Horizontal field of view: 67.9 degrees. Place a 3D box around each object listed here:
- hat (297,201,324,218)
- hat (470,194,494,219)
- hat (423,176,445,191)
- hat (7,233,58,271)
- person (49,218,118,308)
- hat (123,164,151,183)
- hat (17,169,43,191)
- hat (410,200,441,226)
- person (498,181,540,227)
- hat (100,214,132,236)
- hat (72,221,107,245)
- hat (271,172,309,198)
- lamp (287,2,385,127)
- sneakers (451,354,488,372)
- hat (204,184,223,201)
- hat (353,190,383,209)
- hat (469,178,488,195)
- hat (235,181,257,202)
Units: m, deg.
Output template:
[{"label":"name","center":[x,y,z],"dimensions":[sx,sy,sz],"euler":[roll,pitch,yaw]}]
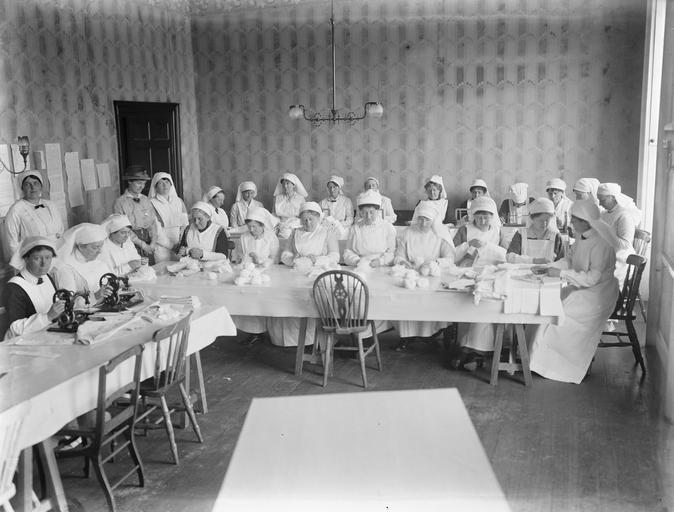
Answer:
[{"label":"hat","center":[-0.269,-0.534,5.562],"dimensions":[0.158,0.122,0.209],"euler":[4,17,8]},{"label":"hat","center":[1.557,-0.511,5.343],"dimensions":[0.201,0.246,0.291],"euler":[3,21,11]},{"label":"hat","center":[1.566,-1.162,7.867],"dimensions":[0.259,0.250,0.395],"euler":[2,6,11]},{"label":"hat","center":[-2.591,-0.041,4.233],"dimensions":[0.408,0.244,0.334],"euler":[-7,12,-20]},{"label":"person","center":[-2.120,0.082,4.213],"dimensions":[0.435,0.780,0.606],"euler":[3,12,11]},{"label":"hat","center":[-2.551,-1.051,6.371],"dimensions":[0.241,0.176,0.286],"euler":[-8,14,-28]},{"label":"hat","center":[-3.498,-0.888,5.727],"dimensions":[0.209,0.168,0.272],"euler":[-7,17,-21]},{"label":"hat","center":[0.979,-0.467,5.396],"dimensions":[0.319,0.381,0.190],"euler":[-1,6,12]},{"label":"person","center":[2.761,-0.809,7.598],"dimensions":[0.601,0.967,0.364],"euler":[-2,-9,9]},{"label":"hat","center":[-2.166,-0.312,4.910],"dimensions":[0.234,0.143,0.162],"euler":[-14,15,21]},{"label":"hat","center":[-2.124,-0.197,4.298],"dimensions":[0.213,0.178,0.163],"euler":[13,15,-8]},{"label":"hat","center":[-0.803,-1.256,8.621],"dimensions":[0.402,0.396,0.659],"euler":[-3,-16,0]},{"label":"lamp","center":[0.049,-3.582,9.142],"dimensions":[1.897,2.808,1.967],"euler":[-2,13,1]},{"label":"sneakers","center":[1.289,1.035,4.862],"dimensions":[0.337,0.162,0.143],"euler":[-4,12,13]},{"label":"hat","center":[-1.834,-0.924,7.479],"dimensions":[0.208,0.210,0.279],"euler":[-10,15,-34]},{"label":"hat","center":[0.374,-0.642,5.602],"dimensions":[0.197,0.217,0.296],"euler":[3,7,18]},{"label":"hat","center":[2.200,-1.090,7.727],"dimensions":[0.272,0.224,0.412],"euler":[-4,-11,11]},{"label":"hat","center":[-1.455,-1.073,8.053],"dimensions":[0.421,0.484,0.478],"euler":[0,4,-9]}]
